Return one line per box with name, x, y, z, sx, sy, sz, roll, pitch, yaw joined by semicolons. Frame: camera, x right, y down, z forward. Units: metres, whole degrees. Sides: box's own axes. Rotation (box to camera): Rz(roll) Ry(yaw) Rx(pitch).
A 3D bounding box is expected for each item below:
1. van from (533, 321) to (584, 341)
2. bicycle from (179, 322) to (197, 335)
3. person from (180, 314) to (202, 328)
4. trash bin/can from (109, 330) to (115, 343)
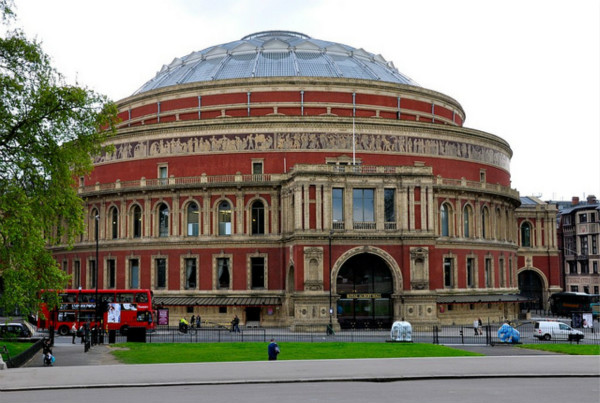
van;21.519;10.882;87.222;3.203;1.251;1.859;-1;-2;-3
bicycle;-10.186;11.283;92.298;2.161;1.212;1.065;0;-1;2
person;-10.391;11.193;97.516;2.165;1.334;1.077;0;-7;-2
trash bin/can;-15.426;11.040;85.117;0.506;1.116;1.055;5;-15;-14
